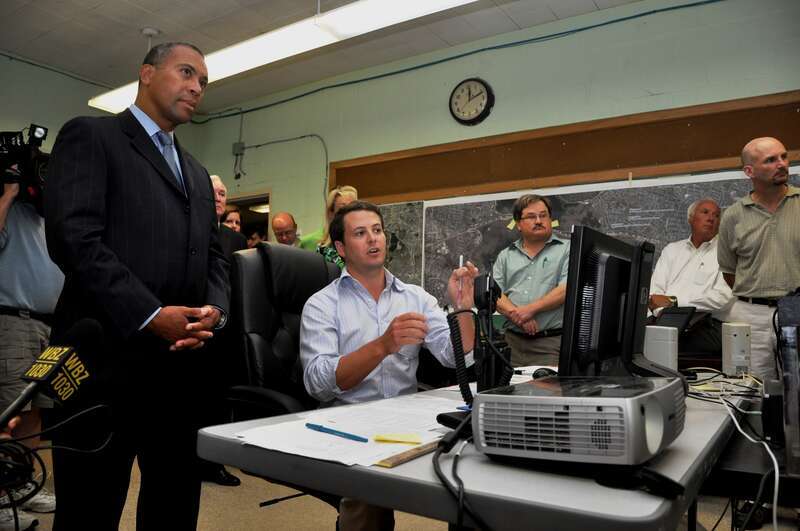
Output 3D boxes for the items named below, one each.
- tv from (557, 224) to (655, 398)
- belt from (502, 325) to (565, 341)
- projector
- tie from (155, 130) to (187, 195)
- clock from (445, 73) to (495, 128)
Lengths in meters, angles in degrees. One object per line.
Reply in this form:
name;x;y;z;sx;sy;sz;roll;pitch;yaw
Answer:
tv;0.754;0.168;1.809;0.223;0.484;0.581;4;-5;41
belt;0.885;0.462;3.757;0.134;0.057;0.433;-2;0;-35
projector;0.459;0.412;1.455;0.446;0.128;0.463;-9;-13;36
tie;-0.865;-0.400;2.066;0.063;0.281;0.037;-16;-16;-28
clock;0.677;-1.535;5.147;0.567;0.617;0.147;0;-8;30
